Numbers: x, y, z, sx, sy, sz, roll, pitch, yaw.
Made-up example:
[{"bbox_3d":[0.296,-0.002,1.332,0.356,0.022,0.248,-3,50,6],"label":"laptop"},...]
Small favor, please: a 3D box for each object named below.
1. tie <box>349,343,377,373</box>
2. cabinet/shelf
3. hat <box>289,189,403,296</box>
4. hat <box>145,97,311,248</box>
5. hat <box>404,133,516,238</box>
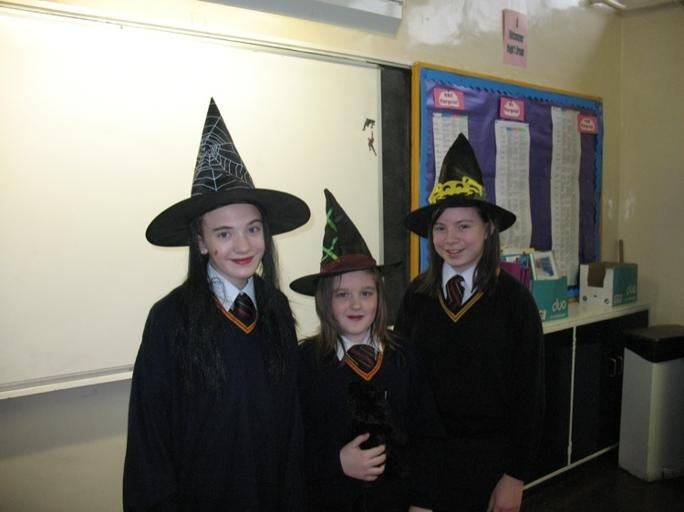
[{"bbox_3d":[0.079,0.388,2.135,0.087,0.107,0.025,-1,-8,-5],"label":"tie"},{"bbox_3d":[1.350,0.799,3.149,1.070,0.957,0.398,-6,6,-42],"label":"cabinet/shelf"},{"bbox_3d":[-0.017,-0.049,2.316,0.389,0.310,0.354,-18,-17,37],"label":"hat"},{"bbox_3d":[-0.446,-0.203,2.183,0.534,0.446,0.589,-15,-10,-17],"label":"hat"},{"bbox_3d":[0.531,-0.298,2.628,0.410,0.463,0.493,2,-16,5],"label":"hat"}]
